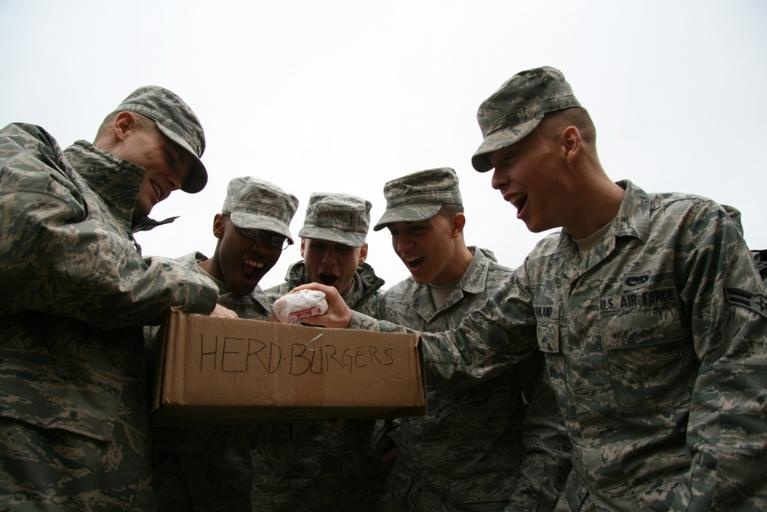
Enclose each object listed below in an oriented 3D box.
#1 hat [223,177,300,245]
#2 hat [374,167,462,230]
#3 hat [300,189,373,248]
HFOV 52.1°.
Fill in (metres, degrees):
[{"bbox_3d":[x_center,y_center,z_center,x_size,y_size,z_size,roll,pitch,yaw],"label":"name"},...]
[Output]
[{"bbox_3d":[-0.696,-0.224,4.307,0.411,0.291,0.519,27,-16,-33],"label":"hat"},{"bbox_3d":[0.220,-0.309,4.858,0.600,0.335,0.477,1,-20,-26],"label":"hat"},{"bbox_3d":[-0.280,-0.228,4.997,0.416,0.305,0.551,2,-11,9],"label":"hat"}]
